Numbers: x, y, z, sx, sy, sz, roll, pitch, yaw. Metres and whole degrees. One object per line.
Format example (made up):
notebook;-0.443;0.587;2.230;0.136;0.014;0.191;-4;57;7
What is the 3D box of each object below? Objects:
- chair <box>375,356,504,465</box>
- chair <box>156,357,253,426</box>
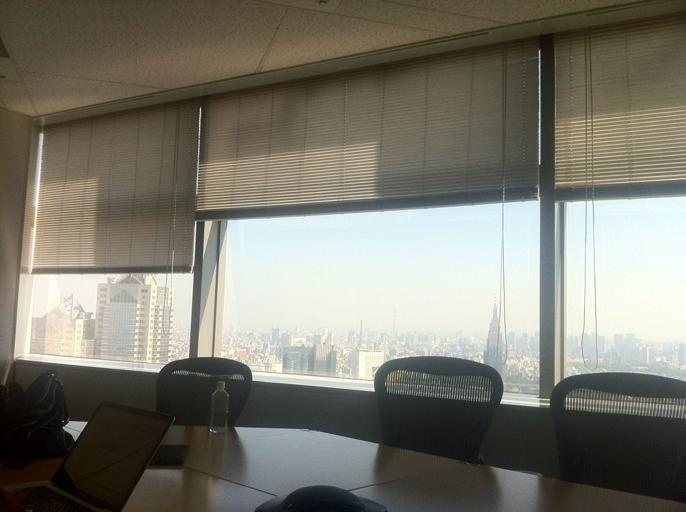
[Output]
chair;0.552;0.798;3.240;0.585;0.783;0.579;0;-5;18
chair;-0.805;0.802;3.502;0.449;0.564;0.449;2;-10;3
